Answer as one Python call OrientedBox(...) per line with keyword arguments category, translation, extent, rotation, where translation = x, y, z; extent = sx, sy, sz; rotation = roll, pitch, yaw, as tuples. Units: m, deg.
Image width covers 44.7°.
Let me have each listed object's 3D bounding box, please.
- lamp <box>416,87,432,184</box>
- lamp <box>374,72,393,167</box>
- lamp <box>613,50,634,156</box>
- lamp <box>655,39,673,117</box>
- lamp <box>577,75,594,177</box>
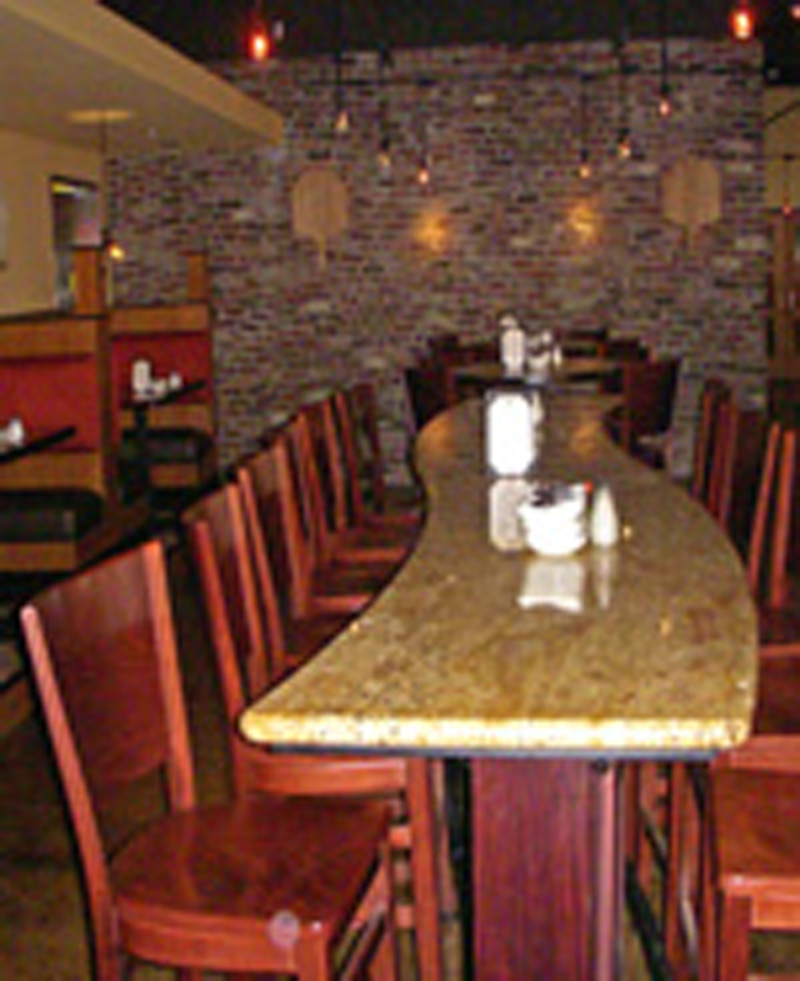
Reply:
OrientedBox(category="lamp", translation=(0.189, -2.920, 7.990), extent=(0.119, 0.823, 0.137), rotation=(0, 13, -1))
OrientedBox(category="lamp", translation=(-0.129, -3.038, 7.968), extent=(0.121, 0.813, 0.195), rotation=(-5, 14, -23))
OrientedBox(category="lamp", translation=(1.823, -3.158, 7.879), extent=(0.170, 0.905, 0.146), rotation=(3, 13, 12))
OrientedBox(category="lamp", translation=(2.131, -3.320, 7.786), extent=(0.134, 0.605, 0.255), rotation=(3, 13, 13))
OrientedBox(category="lamp", translation=(1.512, -2.954, 7.913), extent=(0.129, 0.810, 0.102), rotation=(2, 13, 8))
